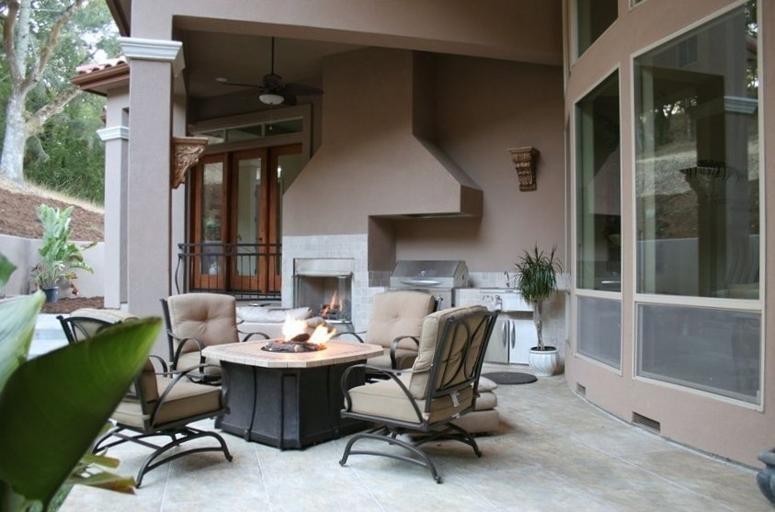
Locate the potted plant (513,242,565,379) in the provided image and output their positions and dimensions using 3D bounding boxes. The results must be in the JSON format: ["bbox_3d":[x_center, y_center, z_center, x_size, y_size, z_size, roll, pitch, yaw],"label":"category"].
[{"bbox_3d":[1.935,0.673,7.299,0.606,1.570,1.139,2,5,17],"label":"potted plant"}]

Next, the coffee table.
[{"bbox_3d":[-0.780,1.158,4.763,0.980,0.506,0.986,-1,-2,35],"label":"coffee table"}]

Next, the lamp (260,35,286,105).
[{"bbox_3d":[-1.631,-2.578,8.108,0.361,1.067,1.784,-1,4,-11],"label":"lamp"}]

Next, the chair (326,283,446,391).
[{"bbox_3d":[-0.027,0.875,5.831,1.001,0.999,1.017,-2,1,24],"label":"chair"}]

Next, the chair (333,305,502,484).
[{"bbox_3d":[0.354,1.043,4.763,1.230,1.572,1.155,-1,-5,29],"label":"chair"}]

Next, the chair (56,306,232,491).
[{"bbox_3d":[-1.747,1.016,4.309,0.888,1.143,0.980,0,0,20],"label":"chair"}]

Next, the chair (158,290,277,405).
[{"bbox_3d":[-1.569,0.942,5.430,1.028,1.142,1.069,0,-3,-23],"label":"chair"}]
